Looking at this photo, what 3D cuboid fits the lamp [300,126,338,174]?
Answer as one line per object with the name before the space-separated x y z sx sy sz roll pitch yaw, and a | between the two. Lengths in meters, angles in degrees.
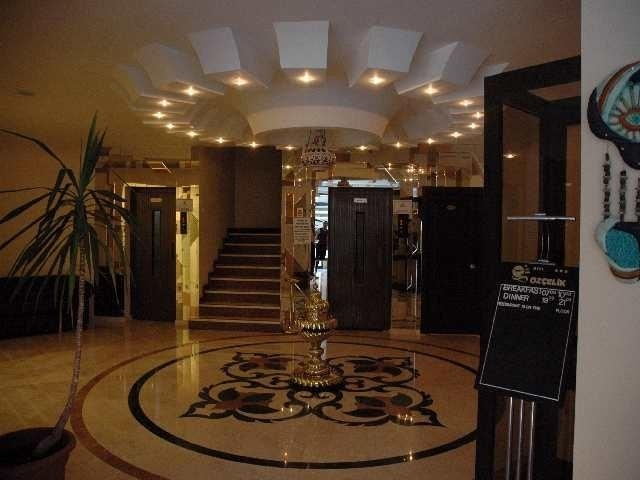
lamp | -0.025 -1.322 6.917 0.438 0.577 0.776 0 5 -2
